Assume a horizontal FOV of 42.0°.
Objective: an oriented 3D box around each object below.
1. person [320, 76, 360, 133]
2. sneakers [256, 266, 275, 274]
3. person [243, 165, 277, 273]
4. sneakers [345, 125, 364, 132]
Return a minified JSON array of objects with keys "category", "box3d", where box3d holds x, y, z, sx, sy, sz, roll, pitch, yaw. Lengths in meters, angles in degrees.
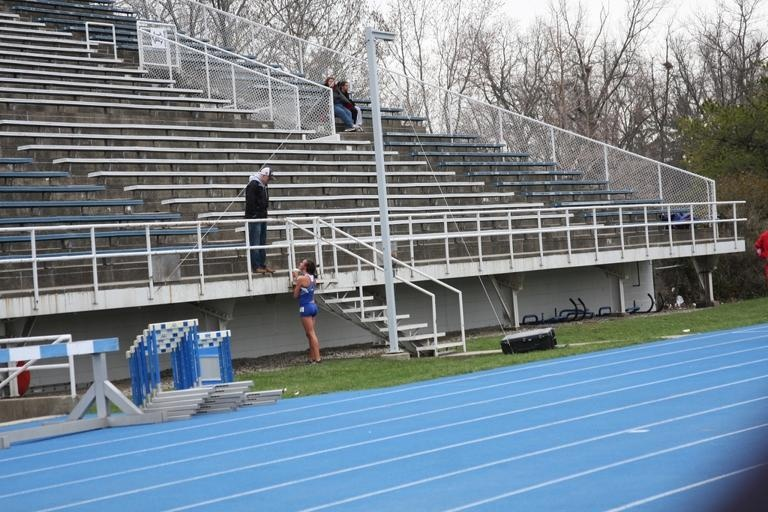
[{"category":"person","box3d":[-1.369,-4.756,33.084,1.248,2.159,0.865,5,1,-17]},{"category":"sneakers","box3d":[-2.891,0.324,24.413,0.478,0.166,0.148,-4,-3,-12]},{"category":"person","box3d":[-3.025,-0.886,24.591,0.717,2.613,0.776,-4,-3,-7]},{"category":"sneakers","box3d":[-0.945,-4.196,32.818,0.542,0.245,0.232,3,4,-5]}]
